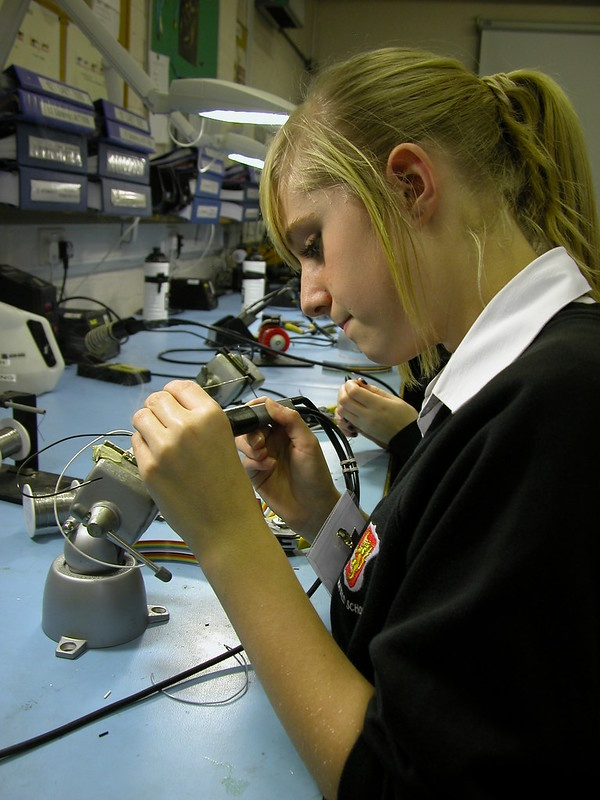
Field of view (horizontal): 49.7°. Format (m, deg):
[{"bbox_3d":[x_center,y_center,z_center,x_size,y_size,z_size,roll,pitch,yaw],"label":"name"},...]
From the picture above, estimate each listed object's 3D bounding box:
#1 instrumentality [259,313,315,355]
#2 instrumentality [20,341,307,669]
[{"bbox_3d":[-0.067,-0.219,2.171,0.128,0.101,0.205,2,12,-3],"label":"instrumentality"},{"bbox_3d":[-0.154,0.117,0.750,0.243,0.306,0.203,2,-9,25],"label":"instrumentality"}]
